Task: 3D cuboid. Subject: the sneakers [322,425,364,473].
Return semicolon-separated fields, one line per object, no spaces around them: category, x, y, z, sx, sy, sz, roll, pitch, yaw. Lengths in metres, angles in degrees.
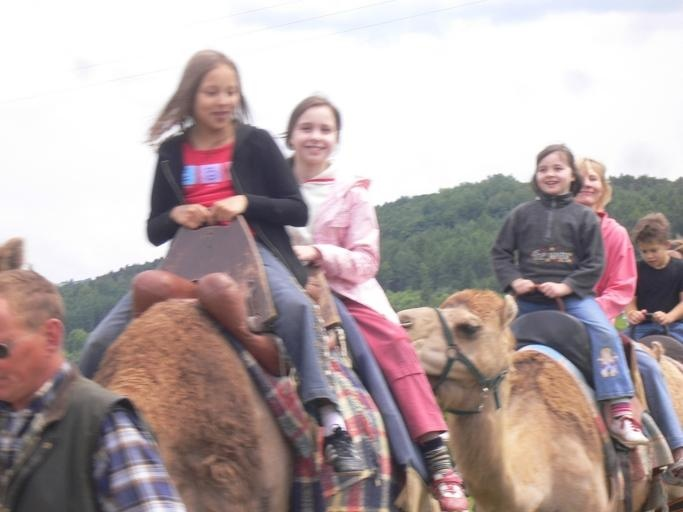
sneakers;0.003;0.959;3.461;0.186;0.233;0.095;-9;-14;-22

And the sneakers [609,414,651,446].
sneakers;2.254;1.329;5.402;0.397;0.168;0.151;11;14;32
